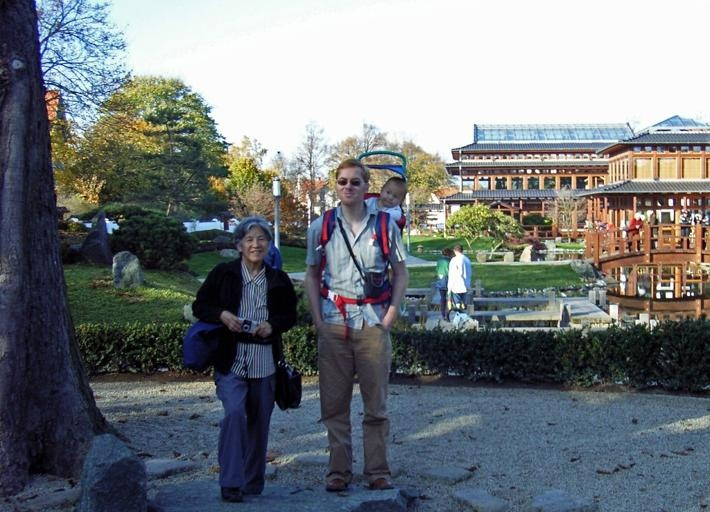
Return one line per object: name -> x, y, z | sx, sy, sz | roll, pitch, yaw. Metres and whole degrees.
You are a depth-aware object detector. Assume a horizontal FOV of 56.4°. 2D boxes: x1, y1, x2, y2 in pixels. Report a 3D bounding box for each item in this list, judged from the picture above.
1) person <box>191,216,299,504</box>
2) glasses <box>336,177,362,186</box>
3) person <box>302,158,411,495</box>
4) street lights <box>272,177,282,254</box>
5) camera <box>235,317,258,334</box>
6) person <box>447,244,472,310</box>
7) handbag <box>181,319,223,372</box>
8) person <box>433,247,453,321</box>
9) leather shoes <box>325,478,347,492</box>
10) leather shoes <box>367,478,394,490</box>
person -> -1.060, 0.957, 6.495 | 0.843, 2.663, 0.649 | -3, 5, -40
glasses -> -0.041, -0.733, 6.507 | 0.239, 0.102, 0.076 | 0, 3, 6
person -> 0.023, 0.697, 6.591 | 1.015, 3.333, 0.617 | 0, 4, -4
street lights -> -2.429, -1.228, 20.738 | 0.405, 2.374, 0.387 | -4, 10, -22
camera -> -1.050, 0.671, 6.376 | 0.222, 0.153, 0.129 | 2, -7, -2
person -> 2.651, 0.577, 16.875 | 0.551, 1.703, 1.086 | 1, 4, 8
handbag -> -1.486, 0.879, 6.387 | 0.338, 0.499, 0.202 | 1, 4, 17
person -> 2.601, 0.723, 18.149 | 0.636, 2.038, 0.579 | 1, 28, 18
leather shoes -> -0.178, 2.211, 6.419 | 0.198, 0.107, 0.102 | 0, 3, -5
leather shoes -> 0.247, 2.215, 6.443 | 0.209, 0.088, 0.108 | -5, -5, 23
